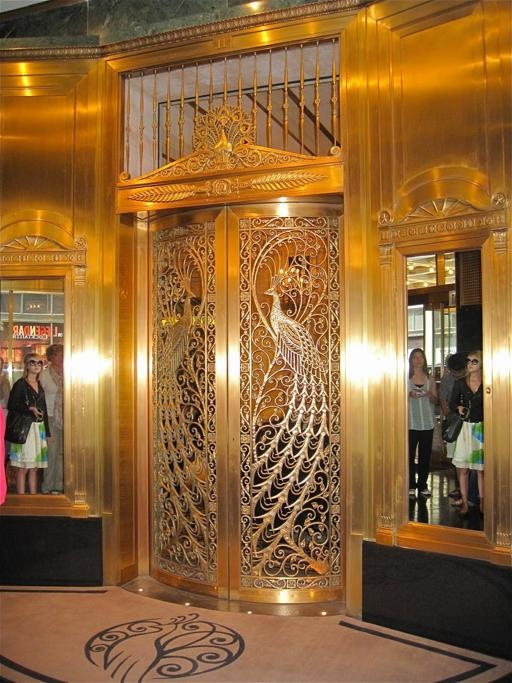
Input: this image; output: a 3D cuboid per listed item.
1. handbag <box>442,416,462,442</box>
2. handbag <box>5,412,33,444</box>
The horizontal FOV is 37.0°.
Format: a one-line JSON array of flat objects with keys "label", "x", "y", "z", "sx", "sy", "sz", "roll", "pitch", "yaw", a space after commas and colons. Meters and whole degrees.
[{"label": "handbag", "x": 1.094, "y": 0.484, "z": 4.230, "sx": 0.045, "sy": 0.114, "sz": 0.134, "roll": 1, "pitch": 9, "yaw": -20}, {"label": "handbag", "x": -1.623, "y": 0.590, "z": 5.252, "sx": 0.170, "sy": 0.220, "sz": 0.077, "roll": 13, "pitch": -6, "yaw": 28}]
